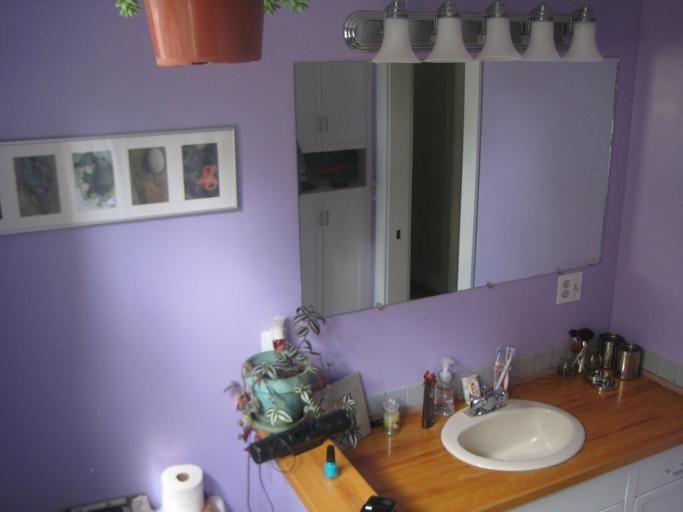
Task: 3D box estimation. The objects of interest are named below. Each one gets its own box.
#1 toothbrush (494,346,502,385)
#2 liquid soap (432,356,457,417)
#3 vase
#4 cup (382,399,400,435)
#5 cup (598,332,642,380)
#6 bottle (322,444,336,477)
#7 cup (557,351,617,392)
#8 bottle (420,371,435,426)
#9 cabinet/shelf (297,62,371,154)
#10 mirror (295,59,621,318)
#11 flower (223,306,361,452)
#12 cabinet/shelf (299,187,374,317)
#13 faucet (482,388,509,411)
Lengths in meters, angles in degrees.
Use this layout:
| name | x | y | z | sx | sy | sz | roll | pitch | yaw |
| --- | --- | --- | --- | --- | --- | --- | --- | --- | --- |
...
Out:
| name | x | y | z | sx | sy | sz | roll | pitch | yaw |
| --- | --- | --- | --- | --- | --- | --- | --- | --- | --- |
| toothbrush | 0.730 | 0.519 | 2.540 | 0.044 | 0.180 | 0.036 | 4 | 4 | -28 |
| liquid soap | 0.464 | 0.589 | 2.476 | 0.137 | 0.280 | 0.145 | -1 | 14 | -7 |
| vase | -0.234 | 0.543 | 2.095 | 0.274 | 0.269 | 0.306 | 0 | -2 | 5 |
| cup | 0.217 | 0.704 | 2.347 | 0.070 | 0.124 | 0.077 | 0 | 9 | 0 |
| cup | 1.399 | 0.511 | 2.791 | 0.133 | 0.195 | 0.247 | -4 | 11 | -8 |
| bottle | -0.045 | 0.744 | 1.994 | 0.051 | 0.120 | 0.085 | -7 | 11 | -4 |
| cup | 1.226 | 0.569 | 2.711 | 0.268 | 0.154 | 0.177 | -1 | 12 | 28 |
| bottle | 0.386 | 0.621 | 2.412 | 0.072 | 0.240 | 0.156 | -4 | 11 | 8 |
| cabinet/shelf | -0.045 | -0.577 | 2.132 | 0.318 | 0.348 | 0.127 | 1 | 8 | 16 |
| mirror | 0.561 | -0.327 | 2.375 | 1.254 | 0.998 | 0.014 | -5 | 17 | -5 |
| flower | -0.192 | 0.408 | 2.152 | 0.568 | 0.616 | 0.391 | 3 | 9 | 14 |
| cabinet/shelf | -0.052 | -0.020 | 2.255 | 0.293 | 0.572 | 0.168 | -5 | 29 | -6 |
| faucet | 0.695 | 0.649 | 2.446 | 0.121 | 0.077 | 0.028 | -25 | 9 | -15 |
